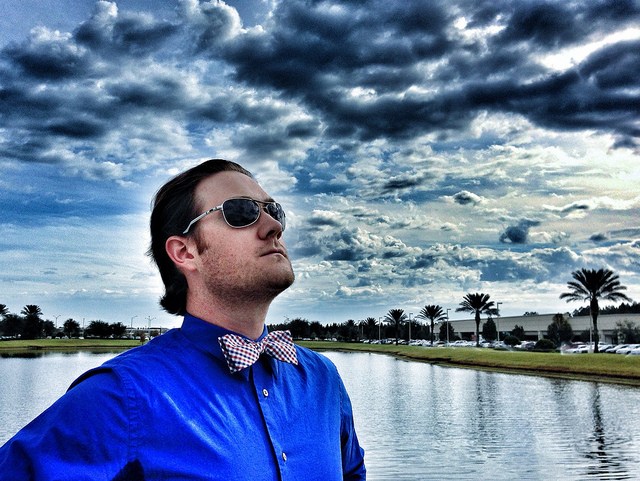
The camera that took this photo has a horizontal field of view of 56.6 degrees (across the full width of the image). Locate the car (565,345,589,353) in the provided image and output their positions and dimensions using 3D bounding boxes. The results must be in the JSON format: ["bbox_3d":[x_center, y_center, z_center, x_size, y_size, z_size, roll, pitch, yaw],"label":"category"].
[{"bbox_3d":[28.598,11.931,65.647,3.171,0.828,1.344,3,-11,-23],"label":"car"}]

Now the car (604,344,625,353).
[{"bbox_3d":[30.625,11.241,61.923,2.529,0.742,1.114,11,-21,-30],"label":"car"}]

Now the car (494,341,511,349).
[{"bbox_3d":[25.829,14.676,83.947,2.318,0.951,3.531,-5,-17,29],"label":"car"}]

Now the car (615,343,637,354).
[{"bbox_3d":[30.346,10.489,58.333,2.640,0.831,1.140,3,-22,-24],"label":"car"}]

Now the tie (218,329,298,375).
[{"bbox_3d":[-0.274,0.506,2.741,0.085,0.164,0.450,-23,-16,35],"label":"tie"}]

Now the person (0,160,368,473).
[{"bbox_3d":[-0.547,0.336,2.764,1.494,1.587,0.835,1,-9,-9],"label":"person"}]

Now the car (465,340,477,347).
[{"bbox_3d":[25.189,17.200,98.865,2.194,0.805,3.022,-6,-10,26],"label":"car"}]

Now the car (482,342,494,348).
[{"bbox_3d":[26.475,16.508,94.192,1.987,0.796,2.973,0,-4,15],"label":"car"}]
